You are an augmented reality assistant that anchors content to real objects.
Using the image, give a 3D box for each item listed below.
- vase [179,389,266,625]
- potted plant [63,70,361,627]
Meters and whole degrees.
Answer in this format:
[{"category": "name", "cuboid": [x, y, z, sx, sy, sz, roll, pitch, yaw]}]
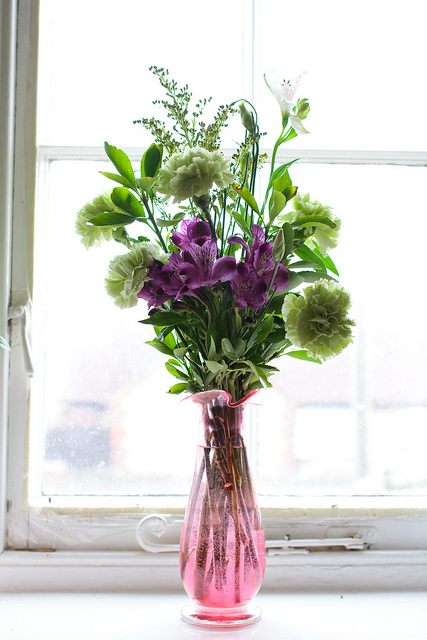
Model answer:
[{"category": "vase", "cuboid": [0.013, 0.267, 0.997, 0.113, 0.321, 0.123, 1, -3, -12]}, {"category": "potted plant", "cuboid": [0.028, 0.040, 1.004, 0.449, 0.778, 0.377, -2, -5, -43]}]
